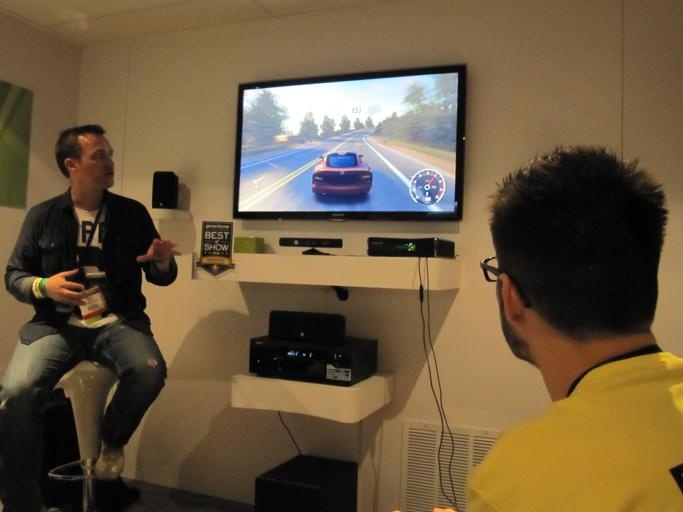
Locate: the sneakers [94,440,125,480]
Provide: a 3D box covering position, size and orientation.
[{"bbox_3d":[-1.171,1.034,3.050,0.134,0.196,0.119,11,-10,-36],"label":"sneakers"}]

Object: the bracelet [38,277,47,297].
[{"bbox_3d":[-1.413,0.153,2.866,0.030,0.086,0.088,-1,6,-39],"label":"bracelet"}]
